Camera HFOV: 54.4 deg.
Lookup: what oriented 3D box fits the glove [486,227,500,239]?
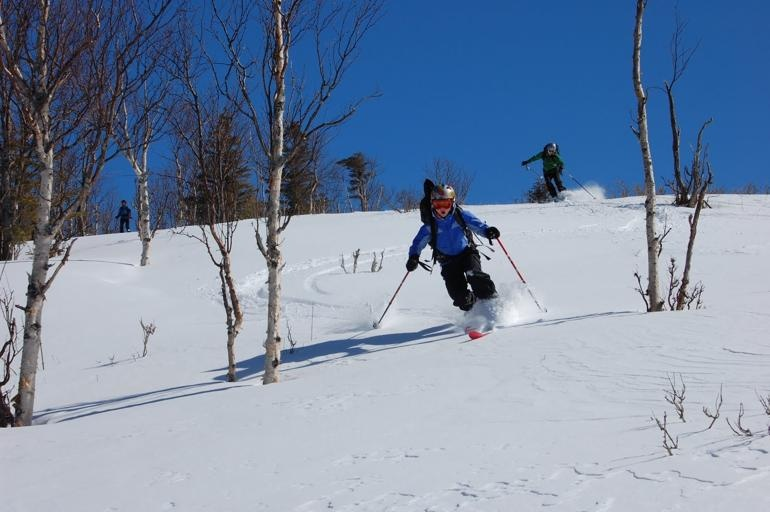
[{"bbox_3d":[1.821,-0.410,12.409,0.053,0.195,0.194,-25,6,-43],"label":"glove"}]

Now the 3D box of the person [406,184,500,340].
[{"bbox_3d":[1.194,-0.057,12.731,1.454,1.977,1.077,-4,-2,7],"label":"person"}]

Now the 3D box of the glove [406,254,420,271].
[{"bbox_3d":[0.463,0.139,12.790,0.186,0.279,0.270,9,-18,7],"label":"glove"}]

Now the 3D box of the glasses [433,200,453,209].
[{"bbox_3d":[0.969,-0.875,12.616,0.180,0.098,0.224,-2,-10,4],"label":"glasses"}]
